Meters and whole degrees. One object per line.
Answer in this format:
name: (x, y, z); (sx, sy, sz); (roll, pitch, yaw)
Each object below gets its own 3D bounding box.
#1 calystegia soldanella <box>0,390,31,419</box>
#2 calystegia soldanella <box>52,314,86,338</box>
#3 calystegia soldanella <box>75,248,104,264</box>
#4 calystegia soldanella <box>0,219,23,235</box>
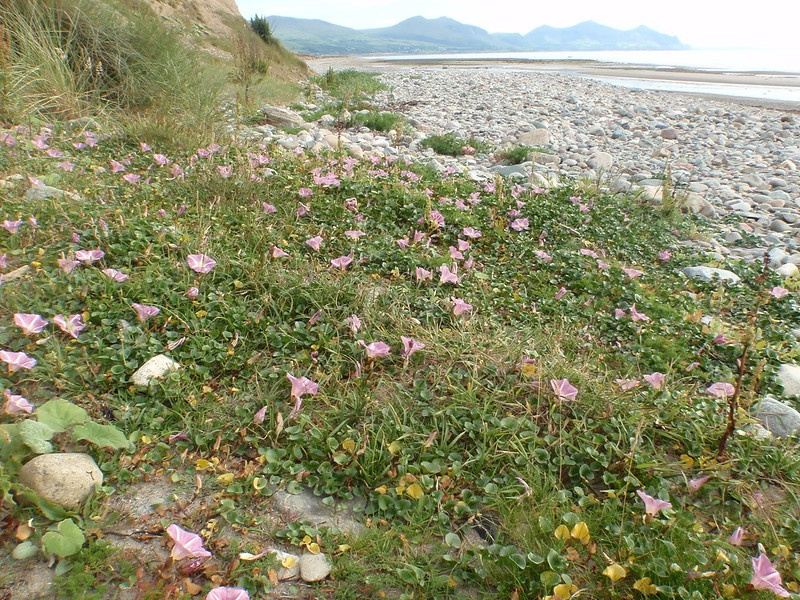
calystegia soldanella: (-2.278, 0.624, 3.150); (0.167, 0.074, 0.166); (37, 0, -7)
calystegia soldanella: (-2.213, 0.177, 3.489); (0.181, 0.178, 0.103); (13, -15, -4)
calystegia soldanella: (-2.297, -0.321, 3.867); (0.135, 0.066, 0.141); (15, 26, 0)
calystegia soldanella: (-2.954, -0.536, 3.980); (0.122, 0.084, 0.108); (1, -1, -40)
